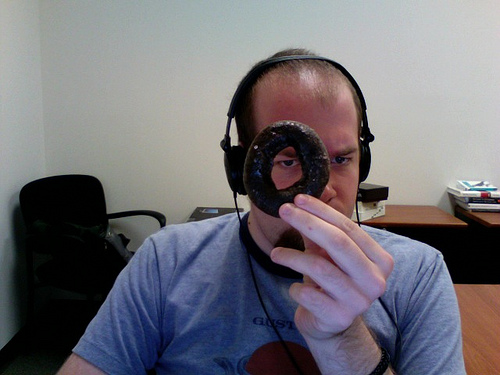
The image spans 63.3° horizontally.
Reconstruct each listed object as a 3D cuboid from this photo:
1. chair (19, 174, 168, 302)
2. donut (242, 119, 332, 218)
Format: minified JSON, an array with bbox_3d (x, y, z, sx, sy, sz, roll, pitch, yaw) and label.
[{"bbox_3d":[-1.411,0.575,3.382,0.868,1.228,0.844,-10,-2,-1],"label":"chair"},{"bbox_3d":[0.135,-0.096,1.612,0.383,0.434,0.149,-4,-1,-11],"label":"donut"}]
